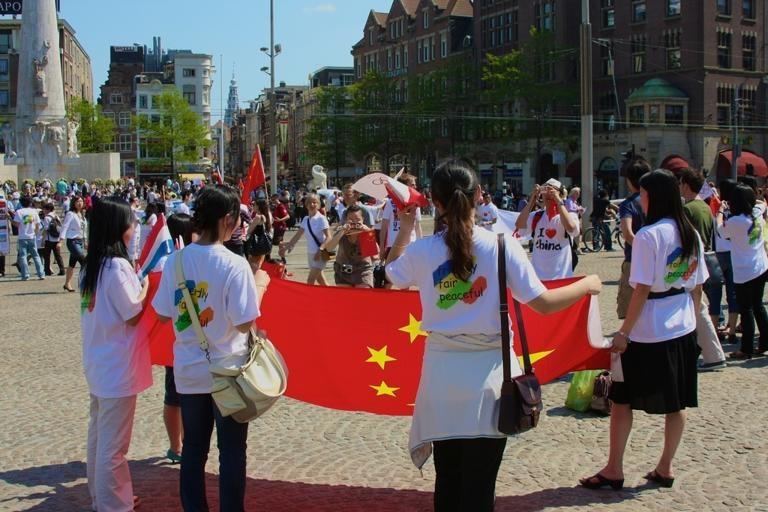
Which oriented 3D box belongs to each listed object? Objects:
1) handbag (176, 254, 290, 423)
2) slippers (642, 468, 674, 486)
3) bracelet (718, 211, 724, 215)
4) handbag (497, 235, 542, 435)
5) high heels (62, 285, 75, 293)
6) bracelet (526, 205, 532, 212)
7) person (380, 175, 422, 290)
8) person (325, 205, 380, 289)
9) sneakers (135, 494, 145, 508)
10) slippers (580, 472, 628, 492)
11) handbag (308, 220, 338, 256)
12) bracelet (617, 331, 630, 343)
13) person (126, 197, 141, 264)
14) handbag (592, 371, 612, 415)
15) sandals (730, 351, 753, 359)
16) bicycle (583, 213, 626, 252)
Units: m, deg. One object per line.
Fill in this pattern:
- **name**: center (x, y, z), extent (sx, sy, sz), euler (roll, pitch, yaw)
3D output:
- **handbag**: center (-1.373, 0.692, 8.904), extent (0.722, 1.737, 0.991), euler (-8, 11, 30)
- **slippers**: center (2.768, 2.237, 9.697), extent (0.106, 0.108, 0.279), euler (-2, 7, -25)
- **bracelet**: center (4.998, -0.643, 14.364), extent (0.059, 0.066, 0.065), euler (1, 8, 3)
- **handbag**: center (1.137, 0.657, 8.141), extent (0.374, 1.668, 0.319), euler (0, 4, -1)
- **high heels**: center (-6.638, 0.698, 20.483), extent (0.102, 0.164, 0.343), euler (-1, -8, -29)
- **bracelet**: center (2.144, -0.721, 14.356), extent (0.080, 0.099, 0.062), euler (14, -20, -31)
- **person**: center (0.268, -0.349, 16.546), extent (0.590, 1.990, 0.452), euler (1, 30, 2)
- **person**: center (-0.446, 0.177, 14.715), extent (0.665, 1.942, 0.681), euler (4, 15, 23)
- **sneakers**: center (-2.394, 2.405, 9.504), extent (0.074, 0.074, 0.203), euler (0, -5, -5)
- **slippers**: center (2.183, 2.219, 9.649), extent (0.400, 0.175, 0.172), euler (4, -4, 8)
- **handbag**: center (-1.103, -0.317, 16.727), extent (0.171, 0.659, 0.457), euler (-22, 0, 6)
- **bracelet**: center (2.338, 0.776, 9.437), extent (0.185, 0.098, 0.092), euler (-3, 6, -29)
- **person**: center (-5.445, -0.580, 21.411), extent (0.447, 1.396, 0.304), euler (-8, -35, -12)
- **handbag**: center (2.443, 1.478, 10.907), extent (0.122, 0.328, 0.264), euler (-3, -7, -10)
- **sandals**: center (4.909, 1.370, 13.287), extent (0.223, 0.105, 0.134), euler (6, 3, 13)
- **bicycle**: center (5.909, -0.622, 26.037), extent (1.291, 0.932, 0.700), euler (-14, 0, 16)
